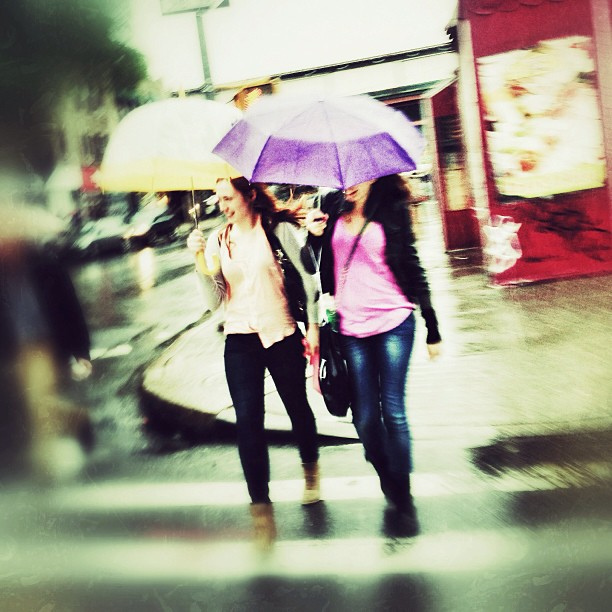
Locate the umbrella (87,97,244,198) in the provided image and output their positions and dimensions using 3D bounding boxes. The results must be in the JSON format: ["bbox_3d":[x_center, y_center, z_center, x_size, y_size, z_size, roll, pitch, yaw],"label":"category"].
[{"bbox_3d":[-0.690,-0.781,3.342,0.648,0.202,0.604,-6,18,13],"label":"umbrella"}]

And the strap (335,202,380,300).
[{"bbox_3d":[0.254,-0.265,3.250,0.049,0.520,0.080,34,19,21],"label":"strap"}]

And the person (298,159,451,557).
[{"bbox_3d":[0.405,0.307,3.449,0.659,2.010,0.395,-7,14,10],"label":"person"}]

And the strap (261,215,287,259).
[{"bbox_3d":[-0.137,-0.341,3.323,0.070,0.175,0.135,-35,-1,9],"label":"strap"}]

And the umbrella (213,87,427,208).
[{"bbox_3d":[0.063,-0.814,3.263,0.795,0.504,0.560,0,15,31],"label":"umbrella"}]
